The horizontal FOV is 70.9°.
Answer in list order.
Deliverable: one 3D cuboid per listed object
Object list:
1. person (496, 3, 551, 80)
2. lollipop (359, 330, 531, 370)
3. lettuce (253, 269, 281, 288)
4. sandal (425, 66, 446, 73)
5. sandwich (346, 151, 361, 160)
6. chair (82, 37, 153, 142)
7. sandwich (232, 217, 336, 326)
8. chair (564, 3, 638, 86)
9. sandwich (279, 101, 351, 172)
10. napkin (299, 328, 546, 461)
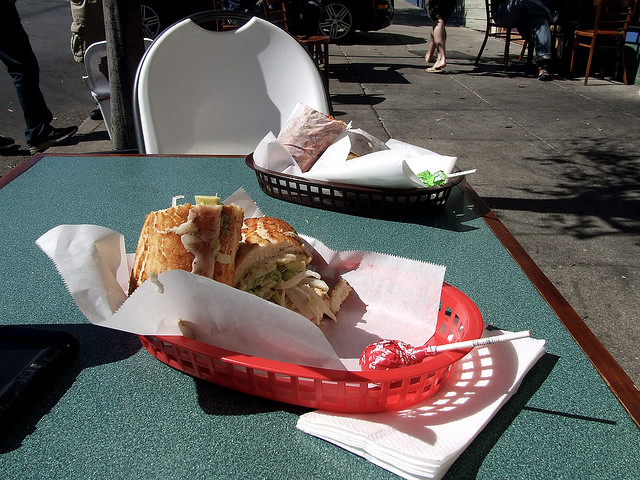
[{"bbox_3d":[3.803,-3.608,8.163,1.151,1.215,0.366,24,32,38],"label":"person"},{"bbox_3d":[0.232,0.201,0.815,0.204,0.056,0.056,-10,7,21],"label":"lollipop"},{"bbox_3d":[-0.105,0.076,0.880,0.029,0.018,0.043,40,57,6],"label":"lettuce"},{"bbox_3d":[2.268,-3.286,8.681,0.444,0.089,0.221,-13,28,-34],"label":"sandal"},{"bbox_3d":[0.116,-0.285,1.512,0.038,0.009,0.033,0,46,-10],"label":"sandwich"},{"bbox_3d":[-1.774,-1.198,4.010,0.400,0.521,0.401,21,14,11],"label":"chair"},{"bbox_3d":[-0.060,0.079,0.930,0.176,0.110,0.235,29,-1,29],"label":"sandwich"},{"bbox_3d":[4.848,-3.336,7.639,1.023,1.175,1.445,10,25,15],"label":"chair"},{"bbox_3d":[-0.010,-0.399,1.732,0.247,0.243,0.081,41,4,8],"label":"sandwich"},{"bbox_3d":[0.230,0.268,0.758,0.291,0.039,0.205,-24,22,-35],"label":"napkin"}]
